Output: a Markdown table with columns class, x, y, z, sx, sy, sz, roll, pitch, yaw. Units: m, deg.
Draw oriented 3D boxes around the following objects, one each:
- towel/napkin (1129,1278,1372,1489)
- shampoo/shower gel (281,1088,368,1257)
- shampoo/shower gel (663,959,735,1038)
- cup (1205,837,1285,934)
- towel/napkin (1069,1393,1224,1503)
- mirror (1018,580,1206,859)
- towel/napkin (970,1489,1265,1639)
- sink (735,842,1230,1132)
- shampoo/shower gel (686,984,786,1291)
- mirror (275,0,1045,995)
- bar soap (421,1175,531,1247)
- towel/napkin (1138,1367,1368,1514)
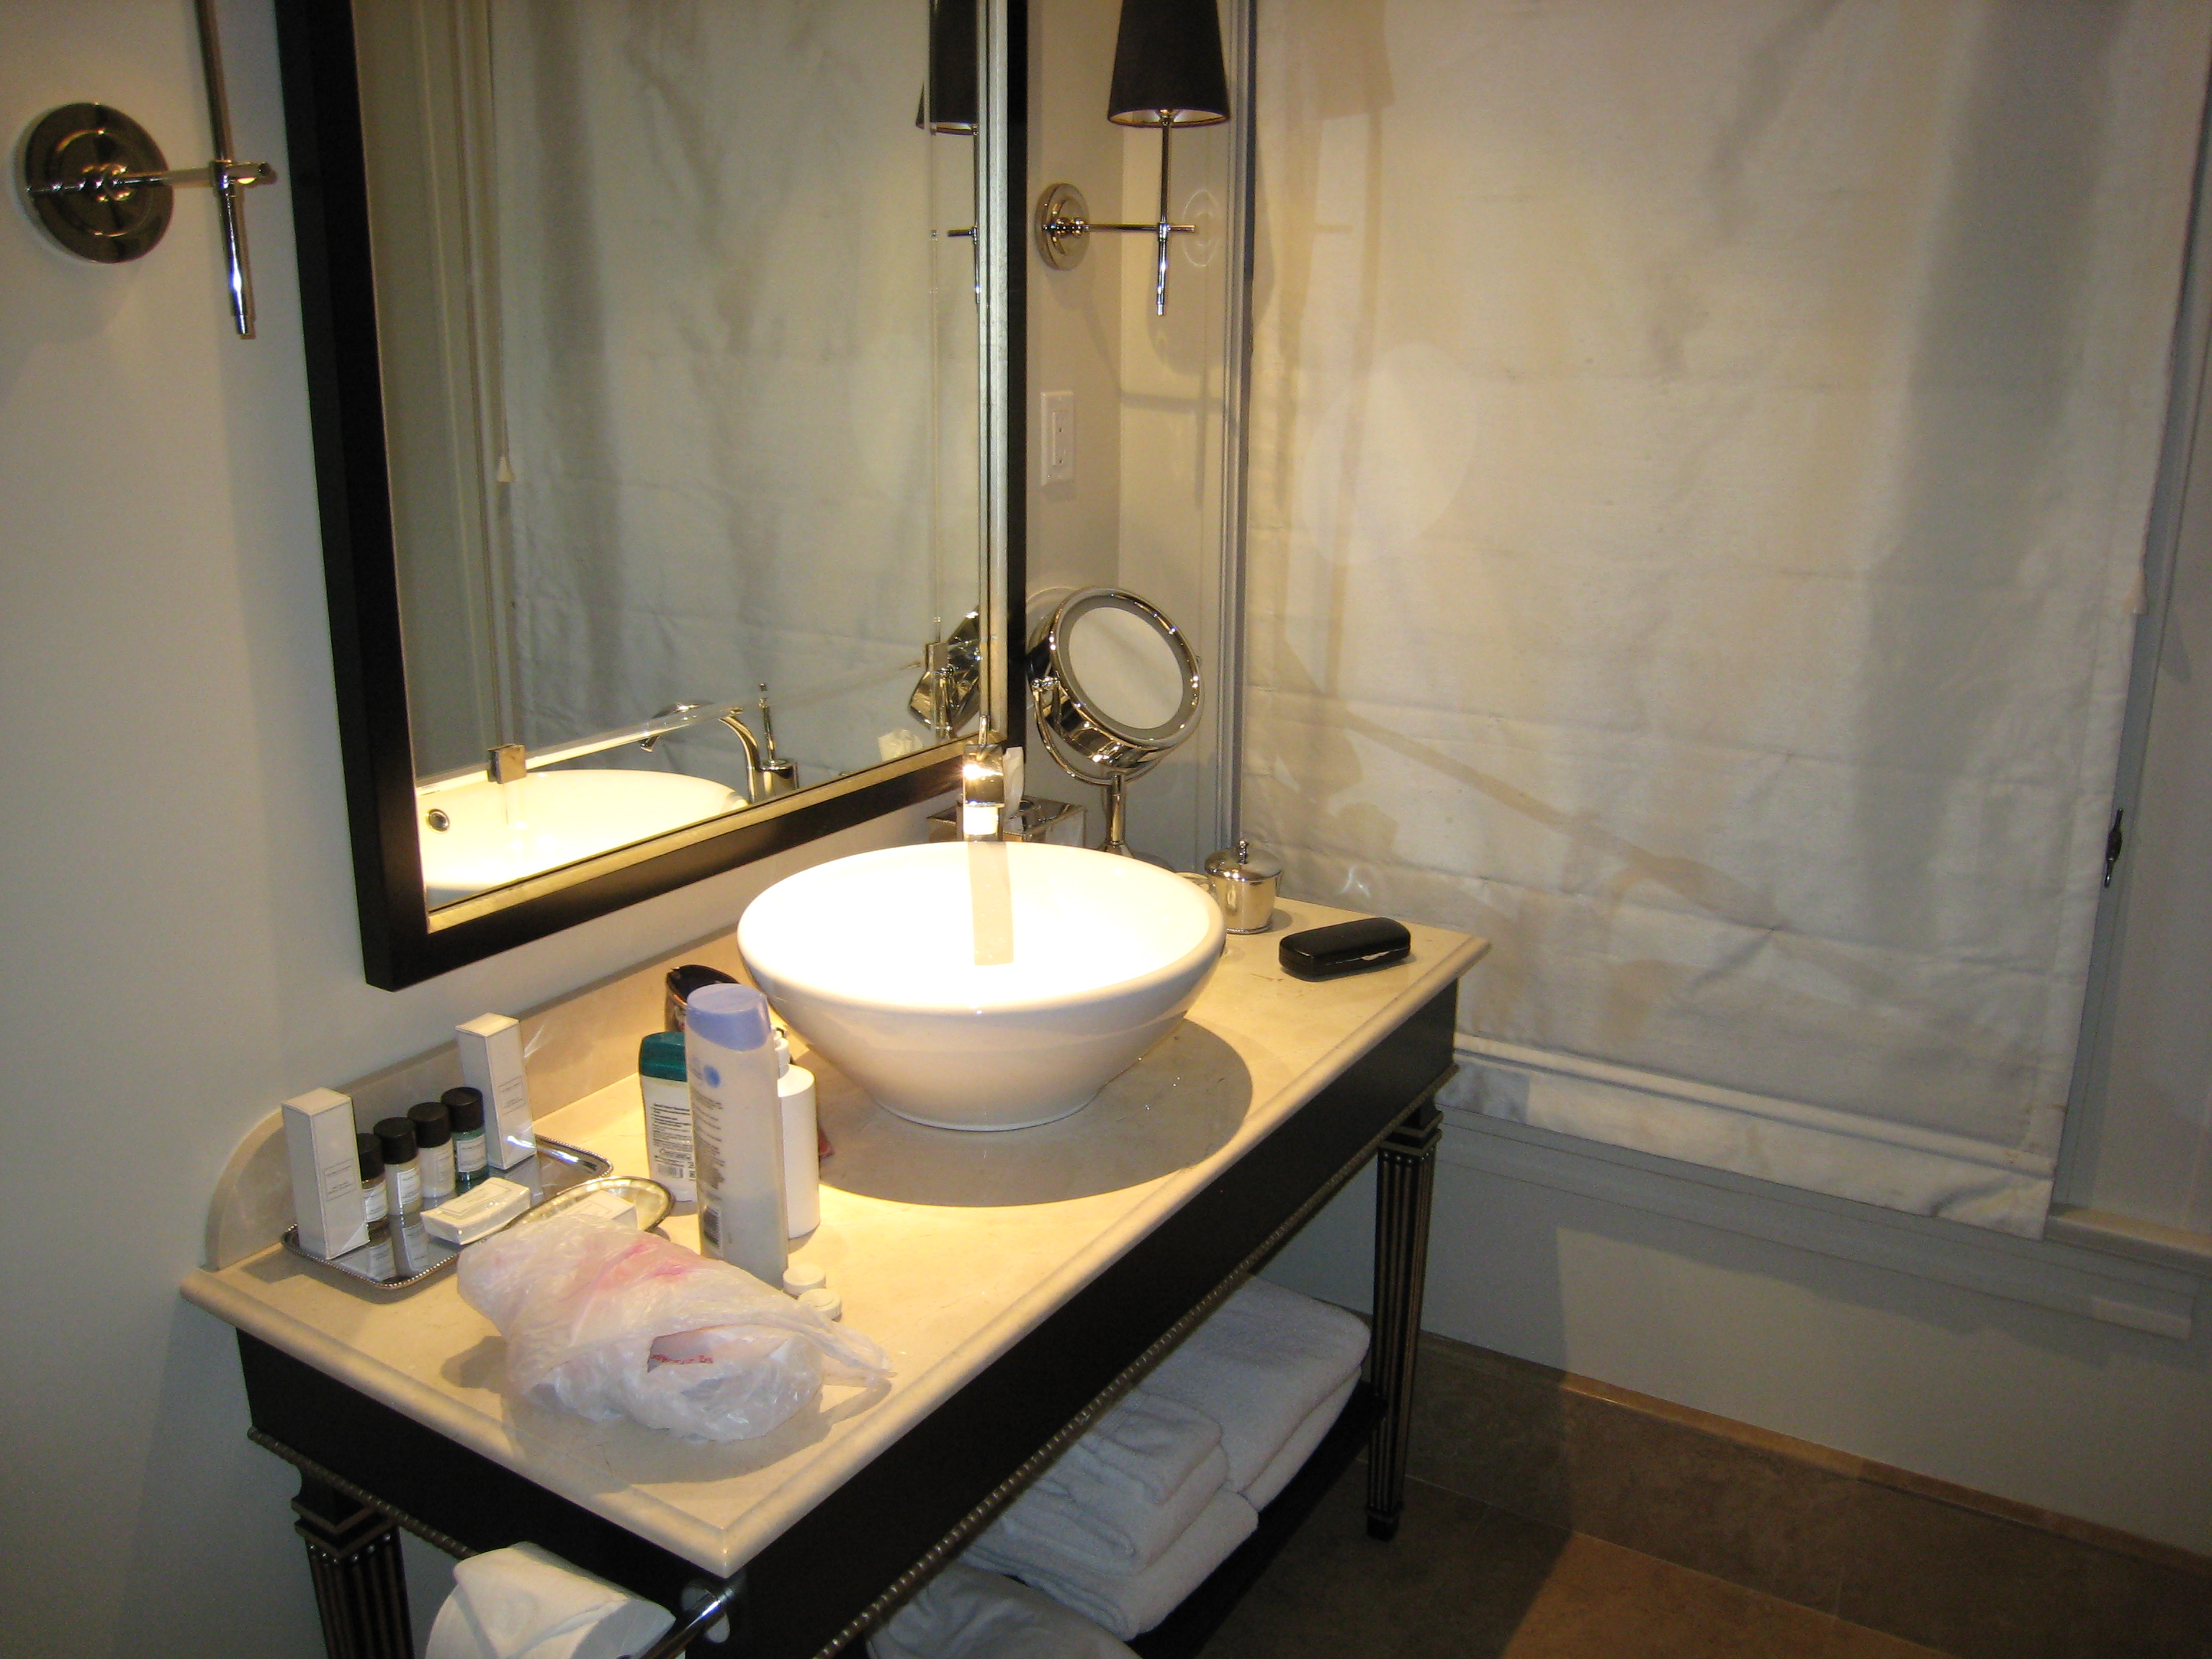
| class | x | y | z | sx | sy | sz | roll | pitch | yaw |
| --- | --- | --- | --- | --- | --- | --- | --- | --- | --- |
| towel/napkin | 0.189 | 0.681 | 2.132 | 0.215 | 0.053 | 0.217 | 9 | 26 | 37 |
| shampoo/shower gel | -0.668 | 0.296 | 1.456 | 0.061 | 0.139 | 0.050 | -11 | 23 | -26 |
| shampoo/shower gel | -0.388 | 0.151 | 1.615 | 0.069 | 0.055 | 0.070 | 6 | 20 | 4 |
| cup | 0.174 | 0.067 | 2.145 | 0.084 | 0.092 | 0.104 | -1 | 19 | 1 |
| towel/napkin | 0.046 | 0.712 | 1.965 | 0.133 | 0.054 | 0.174 | 6 | 10 | 28 |
| mirror | 0.002 | -0.163 | 2.220 | 0.344 | 0.426 | 0.190 | -8 | 12 | -43 |
| towel/napkin | 0.036 | 0.831 | 1.950 | 0.196 | 0.061 | 0.192 | 2 | 3 | 40 |
| sink | -0.134 | 0.141 | 1.708 | 0.341 | 0.129 | 0.347 | 0 | 17 | 0 |
| shampoo/shower gel | -0.310 | 0.255 | 1.436 | 0.079 | 0.235 | 0.122 | -5 | 21 | -12 |
| mirror | -0.452 | -0.329 | 1.667 | 0.048 | 1.058 | 0.852 | 19 | 31 | 33 |
| bar soap | -0.547 | 0.335 | 1.496 | 0.062 | 0.027 | 0.087 | 16 | 27 | 37 |
| towel/napkin | 0.185 | 0.717 | 2.117 | 0.172 | 0.055 | 0.179 | 12 | 19 | 35 |
